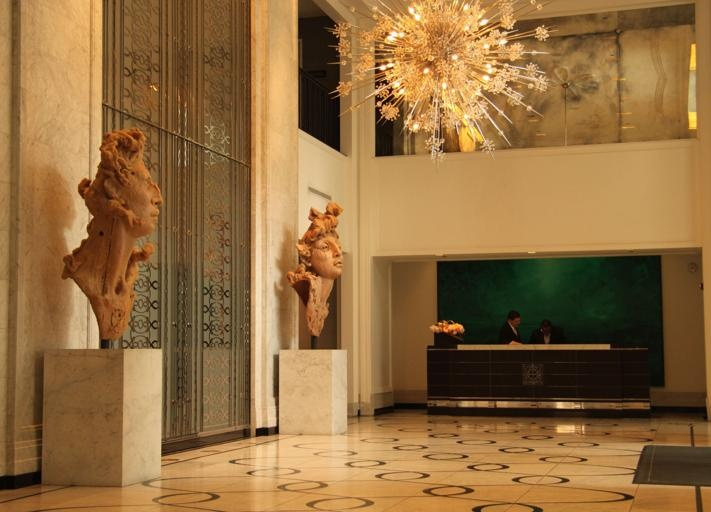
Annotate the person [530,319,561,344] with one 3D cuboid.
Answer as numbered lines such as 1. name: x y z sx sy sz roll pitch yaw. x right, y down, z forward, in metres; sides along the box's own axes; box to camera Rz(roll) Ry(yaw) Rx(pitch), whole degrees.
1. person: 3.743 1.476 14.286 0.492 0.848 0.304 -4 -4 7

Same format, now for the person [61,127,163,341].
1. person: -2.290 -0.163 7.031 0.657 2.048 0.688 -6 -9 32

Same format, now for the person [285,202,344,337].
1. person: -0.590 0.187 10.513 0.794 1.954 0.391 -1 -8 -5
